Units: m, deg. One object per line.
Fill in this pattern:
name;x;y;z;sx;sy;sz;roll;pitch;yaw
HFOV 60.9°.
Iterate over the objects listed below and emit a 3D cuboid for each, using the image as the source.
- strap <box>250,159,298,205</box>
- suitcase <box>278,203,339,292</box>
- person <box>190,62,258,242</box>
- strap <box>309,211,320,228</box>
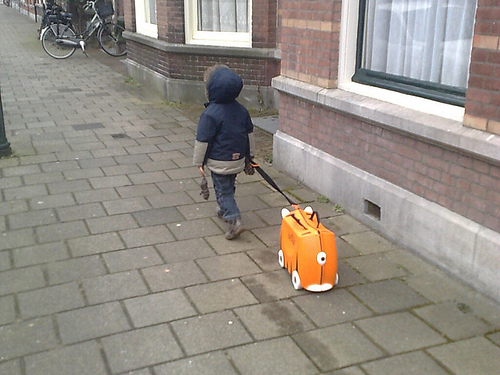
strap;0.353;-0.052;6.046;0.047;0.128;0.932;15;29;-53
suitcase;0.564;0.565;4.107;0.423;0.724;0.677;-11;26;-22
person;-0.304;-0.382;4.876;0.600;1.838;0.816;3;23;8
strap;0.620;0.298;4.000;0.079;0.145;0.129;5;-18;-3
